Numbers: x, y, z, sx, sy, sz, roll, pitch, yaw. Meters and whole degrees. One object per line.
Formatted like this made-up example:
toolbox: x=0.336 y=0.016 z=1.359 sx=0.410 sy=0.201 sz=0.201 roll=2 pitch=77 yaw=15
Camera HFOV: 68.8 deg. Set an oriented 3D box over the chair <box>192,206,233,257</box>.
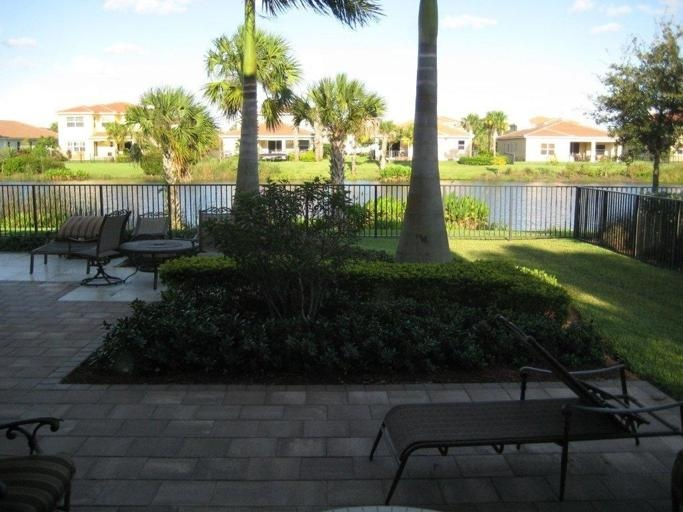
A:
chair: x=-2.784 y=-0.647 z=10.738 sx=0.806 sy=1.395 sz=0.862 roll=-1 pitch=33 yaw=-28
